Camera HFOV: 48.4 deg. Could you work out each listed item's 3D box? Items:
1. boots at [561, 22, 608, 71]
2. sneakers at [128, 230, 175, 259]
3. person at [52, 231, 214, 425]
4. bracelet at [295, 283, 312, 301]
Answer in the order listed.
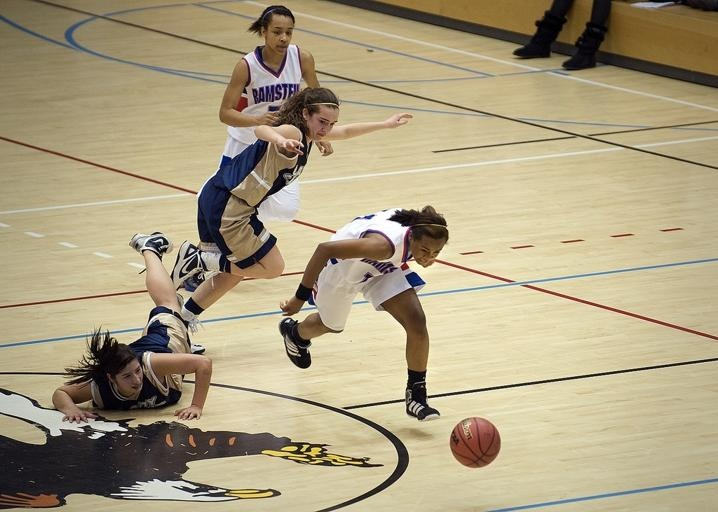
[{"bbox_3d":[3.361,-3.039,11.700,0.424,0.754,0.731,26,22,6],"label":"boots"},{"bbox_3d":[-1.168,-0.082,4.726,0.361,0.087,0.125,3,24,1],"label":"sneakers"},{"bbox_3d":[-1.101,0.433,4.148,0.687,0.331,0.909,1,33,2],"label":"person"},{"bbox_3d":[-0.279,0.180,3.989,0.067,0.109,0.063,19,23,-9],"label":"bracelet"}]
